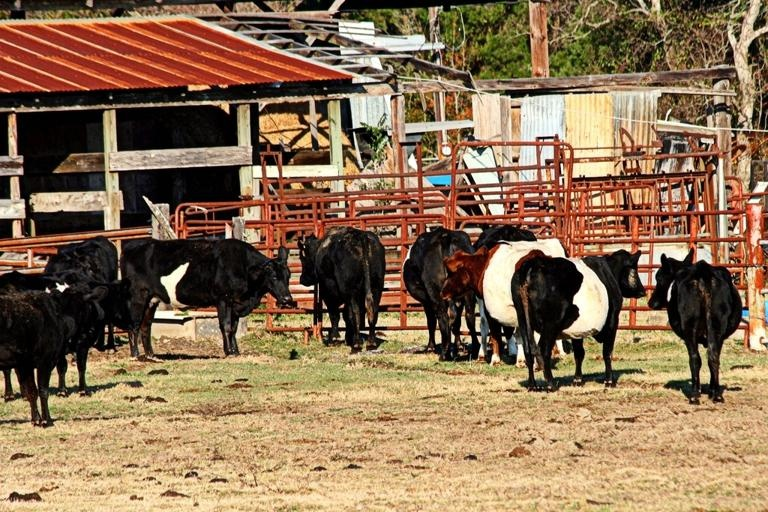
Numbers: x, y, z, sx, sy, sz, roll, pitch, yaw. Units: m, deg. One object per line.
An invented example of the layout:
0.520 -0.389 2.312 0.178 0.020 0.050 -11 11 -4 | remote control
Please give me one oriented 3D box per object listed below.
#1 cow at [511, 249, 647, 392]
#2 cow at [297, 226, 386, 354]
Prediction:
3.891 1.266 35.919 2.417 2.625 1.273 -4 1 -25 | cow
-0.903 0.718 40.391 1.882 2.746 0.777 -3 1 45 | cow
